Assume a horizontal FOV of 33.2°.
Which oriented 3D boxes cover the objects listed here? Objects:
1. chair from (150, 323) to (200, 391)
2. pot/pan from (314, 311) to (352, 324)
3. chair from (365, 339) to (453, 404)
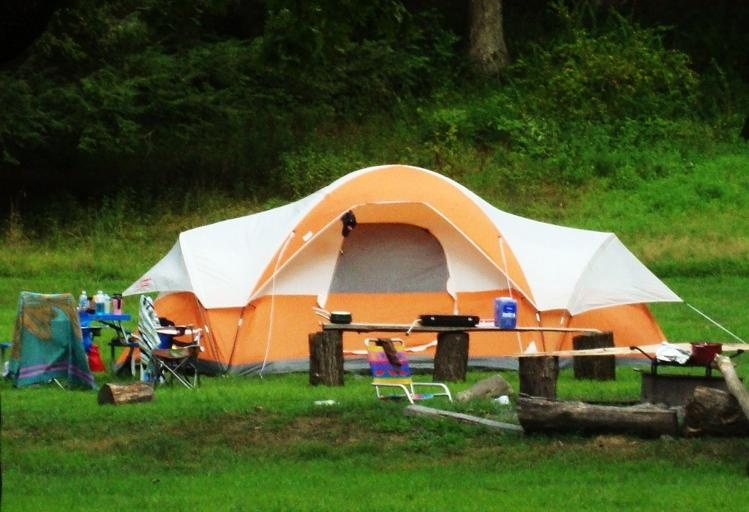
[{"bbox_3d":[-4.489,2.218,28.296,1.121,1.421,1.174,2,13,-4],"label":"chair"},{"bbox_3d":[-0.870,1.339,27.858,0.573,0.218,0.412,-1,-1,15],"label":"pot/pan"},{"bbox_3d":[0.666,2.430,26.638,1.193,1.206,1.826,1,0,-32],"label":"chair"}]
